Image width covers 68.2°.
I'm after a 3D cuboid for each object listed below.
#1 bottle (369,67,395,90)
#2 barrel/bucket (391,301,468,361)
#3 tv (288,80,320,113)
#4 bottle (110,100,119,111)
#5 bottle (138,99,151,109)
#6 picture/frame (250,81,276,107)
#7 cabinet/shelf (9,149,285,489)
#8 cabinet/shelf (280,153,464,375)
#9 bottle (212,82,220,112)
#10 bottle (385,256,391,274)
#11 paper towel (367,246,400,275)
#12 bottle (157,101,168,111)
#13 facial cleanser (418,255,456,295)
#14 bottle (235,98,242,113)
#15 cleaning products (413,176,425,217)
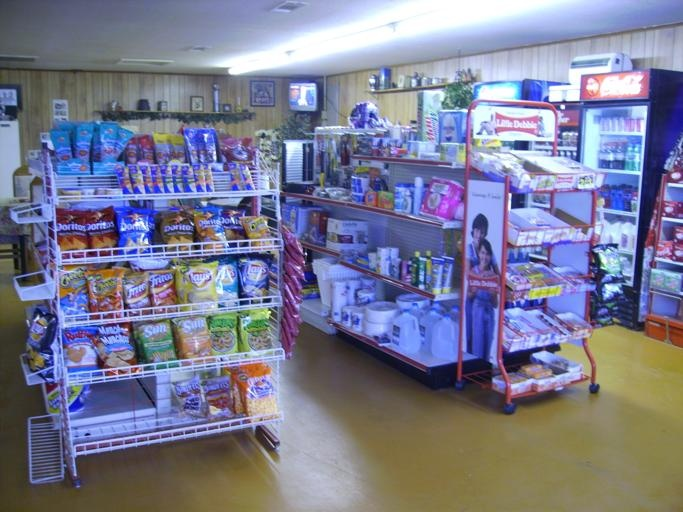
[{"bbox_3d":[0.697,-3.036,8.674,0.339,0.435,0.542,-1,13,-5],"label":"bottle"},{"bbox_3d":[0.721,0.632,4.356,0.559,0.424,0.432,3,13,10],"label":"barrel/bucket"},{"bbox_3d":[-0.824,-3.647,11.578,0.854,0.769,0.451,3,6,26],"label":"tv"},{"bbox_3d":[-4.933,-3.263,11.031,0.161,0.207,0.150,0,12,0],"label":"bottle"},{"bbox_3d":[-4.377,-3.319,11.247,0.222,0.237,0.244,2,3,-41],"label":"bottle"},{"bbox_3d":[-1.918,-3.927,12.181,0.600,0.511,0.067,6,15,-27],"label":"picture/frame"},{"bbox_3d":[-1.240,0.337,3.418,1.615,1.786,0.815,-2,5,-33],"label":"cabinet/shelf"},{"bbox_3d":[0.314,0.243,4.663,1.982,1.300,0.618,21,-1,43],"label":"cabinet/shelf"},{"bbox_3d":[-2.918,-3.682,11.815,0.197,0.642,0.196,0,12,0],"label":"bottle"},{"bbox_3d":[0.431,0.095,4.614,0.049,0.164,0.060,0,12,0],"label":"bottle"},{"bbox_3d":[0.386,0.043,4.696,0.422,0.242,0.178,10,16,36],"label":"paper towel"},{"bbox_3d":[-4.049,-3.397,11.456,0.216,0.258,0.175,-3,13,-12],"label":"bottle"},{"bbox_3d":[0.766,0.157,4.160,0.300,0.289,0.196,2,13,8],"label":"facial cleanser"},{"bbox_3d":[-2.432,-3.610,12.020,0.131,0.366,0.186,-2,13,-11],"label":"bottle"},{"bbox_3d":[0.673,-0.515,4.388,0.103,0.313,0.156,2,13,9],"label":"cleaning products"}]
